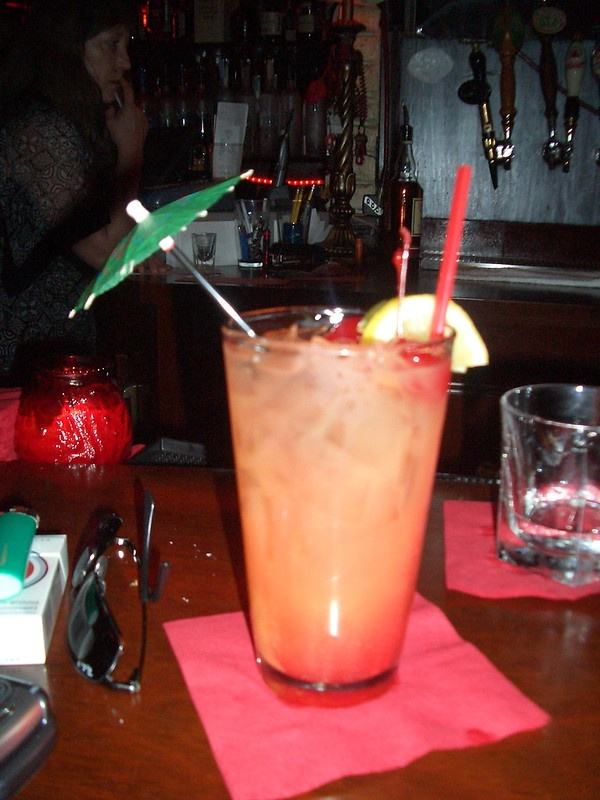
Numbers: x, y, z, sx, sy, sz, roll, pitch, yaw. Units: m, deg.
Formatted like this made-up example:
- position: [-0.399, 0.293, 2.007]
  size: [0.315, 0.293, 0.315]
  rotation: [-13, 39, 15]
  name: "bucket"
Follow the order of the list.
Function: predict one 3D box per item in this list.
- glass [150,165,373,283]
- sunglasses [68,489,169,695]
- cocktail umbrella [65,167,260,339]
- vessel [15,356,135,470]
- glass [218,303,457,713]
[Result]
- position: [-0.100, -0.581, 2.205]
  size: [0.750, 0.370, 1.044]
  rotation: [2, 22, 3]
  name: "glass"
- position: [-0.139, 0.132, 0.455]
  size: [0.034, 0.112, 0.114]
  rotation: [20, 17, -16]
  name: "sunglasses"
- position: [-0.082, -0.086, 0.387]
  size: [0.080, 0.089, 0.092]
  rotation: [-9, 15, -37]
  name: "cocktail umbrella"
- position: [-0.278, 0.024, 0.838]
  size: [0.134, 0.126, 0.134]
  rotation: [-8, 16, -21]
  name: "vessel"
- position: [0.021, 0.073, 0.415]
  size: [0.140, 0.211, 0.139]
  rotation: [4, 5, 33]
  name: "glass"
